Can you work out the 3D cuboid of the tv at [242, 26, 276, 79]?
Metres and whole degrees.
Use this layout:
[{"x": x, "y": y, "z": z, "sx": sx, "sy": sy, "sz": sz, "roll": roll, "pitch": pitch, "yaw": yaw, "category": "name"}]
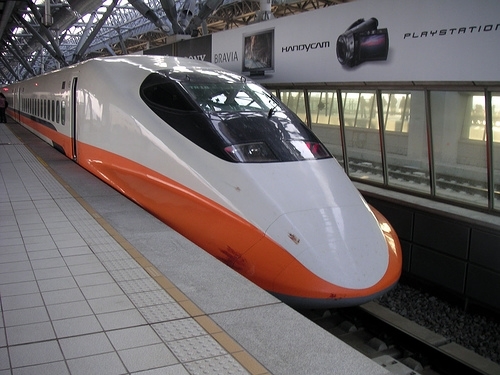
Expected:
[{"x": 0.292, "y": -4.463, "z": 10.404, "sx": 1.436, "sy": 1.446, "sz": 0.141, "roll": 15, "pitch": 23, "yaw": 40, "category": "tv"}]
